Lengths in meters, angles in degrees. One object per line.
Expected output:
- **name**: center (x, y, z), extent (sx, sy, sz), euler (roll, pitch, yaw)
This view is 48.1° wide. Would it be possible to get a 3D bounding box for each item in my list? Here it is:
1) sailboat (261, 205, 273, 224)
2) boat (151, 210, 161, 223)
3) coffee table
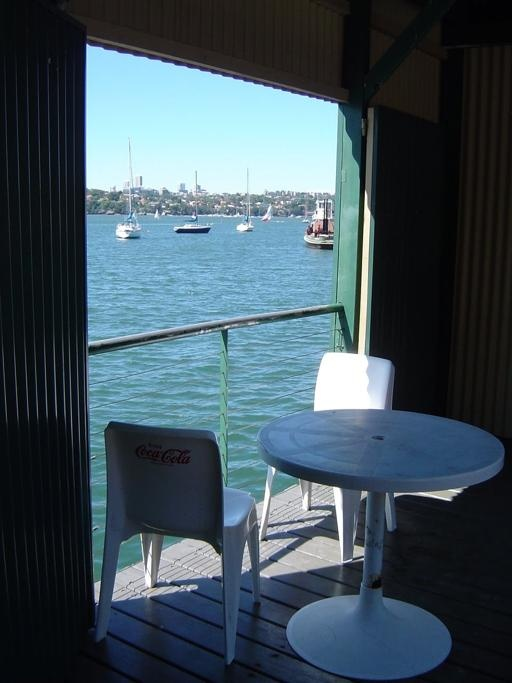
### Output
- **sailboat**: center (1.605, -16.421, 74.354), extent (1.265, 1.551, 3.158), euler (0, 1, -10)
- **boat**: center (-12.933, -16.498, 75.426), extent (0.646, 2.329, 1.268), euler (-4, 14, -28)
- **coffee table**: center (0.370, 0.618, 1.659), extent (0.602, 0.685, 0.606), euler (-10, 16, -42)
